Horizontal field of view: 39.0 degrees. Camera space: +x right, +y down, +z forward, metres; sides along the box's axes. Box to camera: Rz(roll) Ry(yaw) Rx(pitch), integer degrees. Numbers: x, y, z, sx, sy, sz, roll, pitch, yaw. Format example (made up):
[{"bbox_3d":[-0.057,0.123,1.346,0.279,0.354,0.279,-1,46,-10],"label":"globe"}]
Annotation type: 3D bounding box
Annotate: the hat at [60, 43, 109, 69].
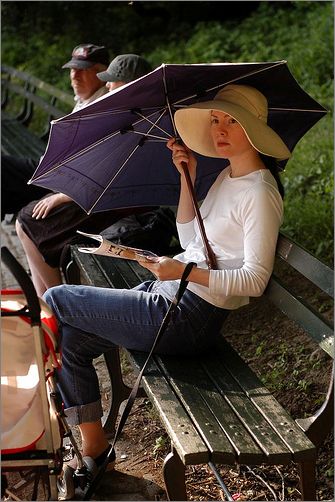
[{"bbox_3d":[-0.680,-1.634,3.980,0.382,0.173,0.271,2,7,-27],"label":"hat"}]
